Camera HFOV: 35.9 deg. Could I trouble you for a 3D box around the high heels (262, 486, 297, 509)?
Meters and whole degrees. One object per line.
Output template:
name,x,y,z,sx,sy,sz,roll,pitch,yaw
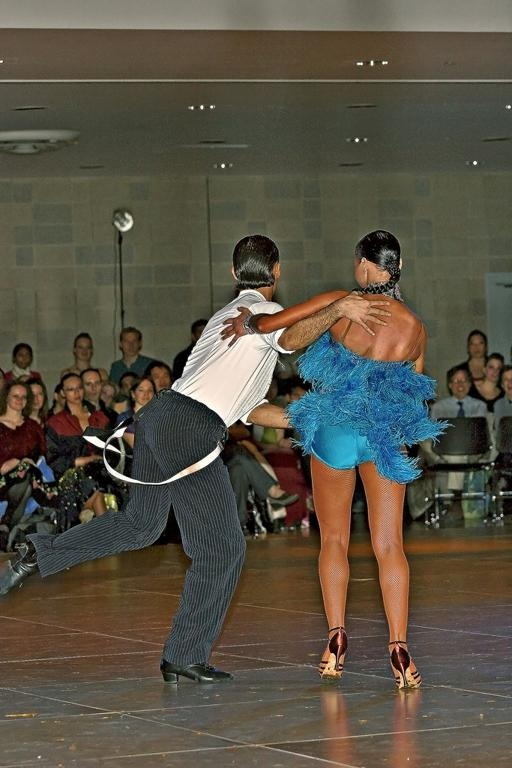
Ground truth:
high heels,0.225,1.025,7.221,0.392,0.139,0.145,-3,18,44

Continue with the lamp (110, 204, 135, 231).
lamp,-1.557,-1.887,9.133,0.272,0.244,0.097,-6,15,2

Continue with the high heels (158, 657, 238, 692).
high heels,-0.187,0.887,2.452,0.256,0.087,0.081,-1,12,-8

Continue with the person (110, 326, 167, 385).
person,-1.335,-0.302,8.790,0.823,0.692,0.394,-1,-27,-9

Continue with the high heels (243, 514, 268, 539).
high heels,0.012,1.346,7.450,0.212,0.187,0.210,6,-8,-32

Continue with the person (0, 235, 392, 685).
person,-0.174,0.224,2.422,1.098,1.390,0.369,0,-7,23

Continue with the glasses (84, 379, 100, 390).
glasses,-1.655,-0.007,8.011,0.121,0.121,0.140,-2,-27,-15

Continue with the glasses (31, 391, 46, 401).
glasses,-1.985,0.106,7.248,0.077,0.047,0.089,13,-13,4
